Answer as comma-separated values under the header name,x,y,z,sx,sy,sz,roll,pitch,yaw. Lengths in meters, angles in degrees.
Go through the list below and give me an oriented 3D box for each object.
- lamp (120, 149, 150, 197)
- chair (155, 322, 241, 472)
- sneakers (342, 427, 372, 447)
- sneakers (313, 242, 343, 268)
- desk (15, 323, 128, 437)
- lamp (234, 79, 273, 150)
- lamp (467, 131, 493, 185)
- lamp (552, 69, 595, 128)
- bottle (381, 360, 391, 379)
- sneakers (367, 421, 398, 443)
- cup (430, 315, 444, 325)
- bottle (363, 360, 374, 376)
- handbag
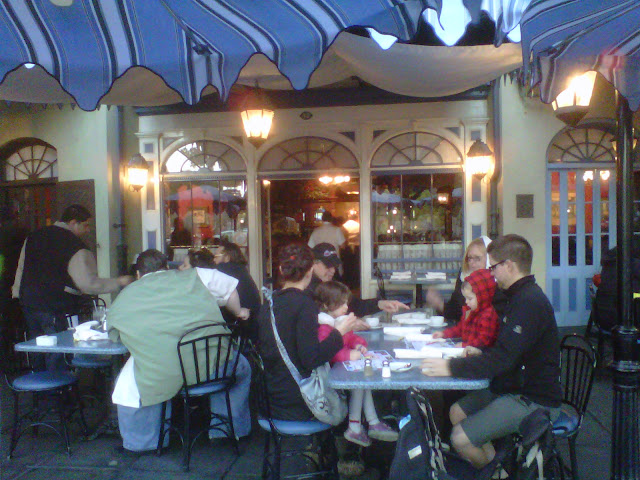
name,x,y,z,sx,sy,sz,roll,pitch,yaw
lamp,-2.651,-1.001,9.189,0.472,0.735,0.530,0,0,2
chair,-0.950,1.294,5.489,0.542,1.213,0.492,-3,3,-13
sneakers,0.278,1.539,4.914,0.230,0.146,0.115,21,-3,-6
sneakers,0.064,0.133,5.937,0.246,0.157,0.185,22,15,29
desk,-2.409,1.434,5.795,1.041,0.900,0.989,15,-11,-42
lamp,-0.752,-1.452,7.413,0.367,0.657,0.371,-3,2,-26
lamp,2.182,-1.129,8.638,0.361,0.629,0.556,-2,3,13
lamp,2.069,-1.150,5.123,0.329,0.418,0.241,-4,4,-35
bottle,0.461,0.902,4.393,0.082,0.144,0.091,-2,-2,17
sneakers,0.489,1.476,4.889,0.214,0.148,0.131,-1,-2,10
cup,1.043,0.710,5.617,0.082,0.057,0.088,0,-8,0
bottle,0.338,0.908,4.496,0.076,0.157,0.081,-1,1,0
handbag,0.018,1.133,4.596,0.275,0.376,0.166,-3,30,32
